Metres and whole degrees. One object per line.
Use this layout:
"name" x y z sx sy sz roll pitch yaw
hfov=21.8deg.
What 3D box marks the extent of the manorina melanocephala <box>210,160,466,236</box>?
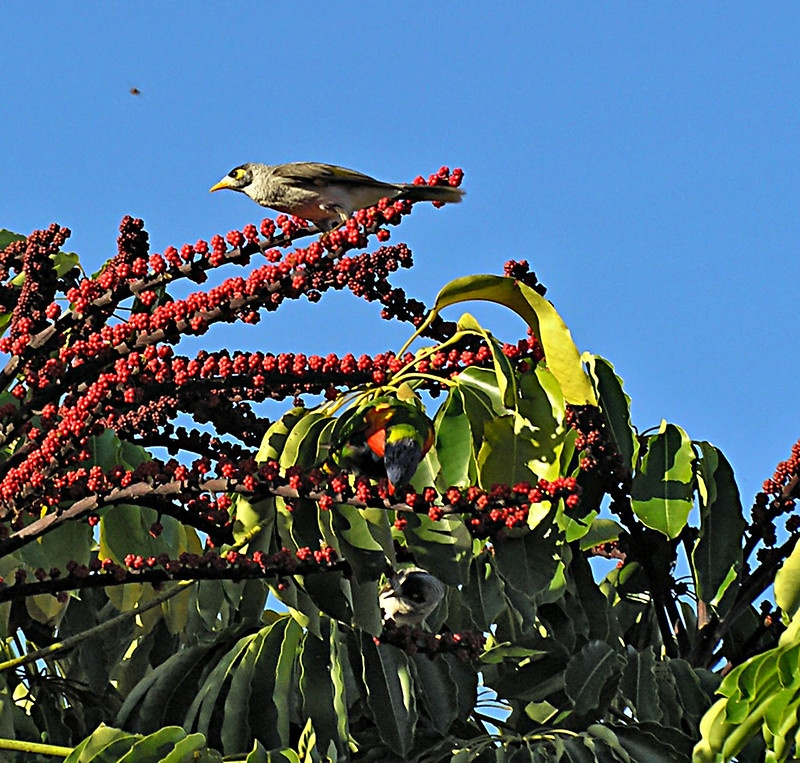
"manorina melanocephala" -0.280 -0.872 9.663 1.160 0.396 0.342 -8 -13 -7
